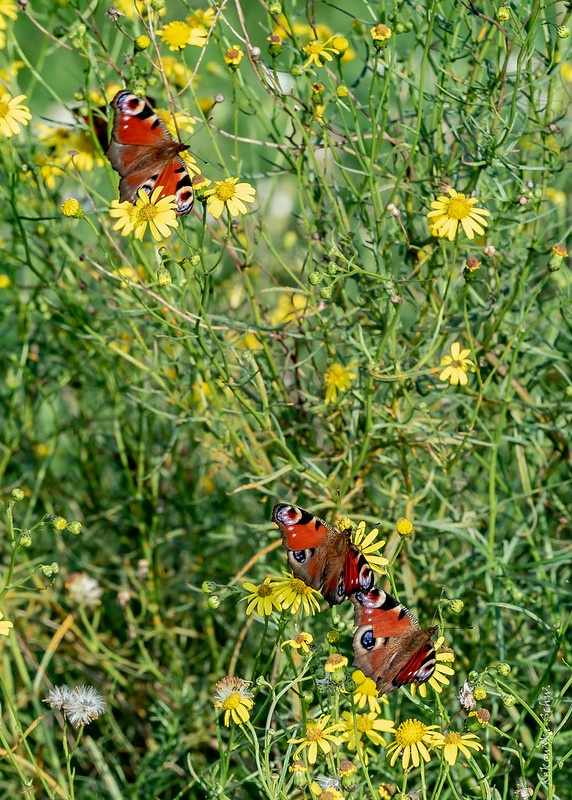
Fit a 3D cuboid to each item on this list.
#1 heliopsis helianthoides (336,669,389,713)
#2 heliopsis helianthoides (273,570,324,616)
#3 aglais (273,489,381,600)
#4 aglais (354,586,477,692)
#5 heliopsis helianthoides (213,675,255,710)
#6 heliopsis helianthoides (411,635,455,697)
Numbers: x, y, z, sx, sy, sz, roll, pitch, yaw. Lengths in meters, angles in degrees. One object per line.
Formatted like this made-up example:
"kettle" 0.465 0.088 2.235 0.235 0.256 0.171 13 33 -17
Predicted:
"heliopsis helianthoides" 0.089 0.313 0.890 0.016 0.053 0.051 -16 81 -43
"heliopsis helianthoides" 0.007 0.236 0.933 0.067 0.024 0.065 13 40 -32
"aglais" 0.039 0.167 0.878 0.084 0.092 0.122 -10 62 -11
"aglais" 0.140 0.255 0.869 0.105 0.056 0.114 -47 65 5
"heliopsis helianthoides" -0.061 0.326 0.882 0.038 0.021 0.038 -18 44 -14
"heliopsis helianthoides" 0.157 0.281 0.842 0.045 0.019 0.060 4 30 37
